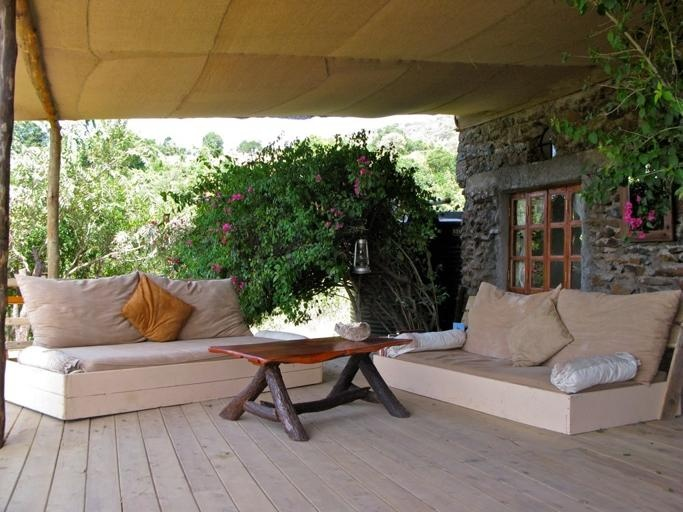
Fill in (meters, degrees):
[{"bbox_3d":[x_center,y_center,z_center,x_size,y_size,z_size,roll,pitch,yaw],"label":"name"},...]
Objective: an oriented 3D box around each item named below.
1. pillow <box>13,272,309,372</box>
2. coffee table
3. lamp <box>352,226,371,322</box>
[{"bbox_3d":[-1.890,0.561,4.389,1.118,0.787,2.295,6,-1,42],"label":"pillow"},{"bbox_3d":[-0.299,0.850,3.842,1.252,0.664,1.029,5,1,-42],"label":"coffee table"},{"bbox_3d":[0.252,0.253,6.034,0.208,1.184,0.226,4,2,-24],"label":"lamp"}]
